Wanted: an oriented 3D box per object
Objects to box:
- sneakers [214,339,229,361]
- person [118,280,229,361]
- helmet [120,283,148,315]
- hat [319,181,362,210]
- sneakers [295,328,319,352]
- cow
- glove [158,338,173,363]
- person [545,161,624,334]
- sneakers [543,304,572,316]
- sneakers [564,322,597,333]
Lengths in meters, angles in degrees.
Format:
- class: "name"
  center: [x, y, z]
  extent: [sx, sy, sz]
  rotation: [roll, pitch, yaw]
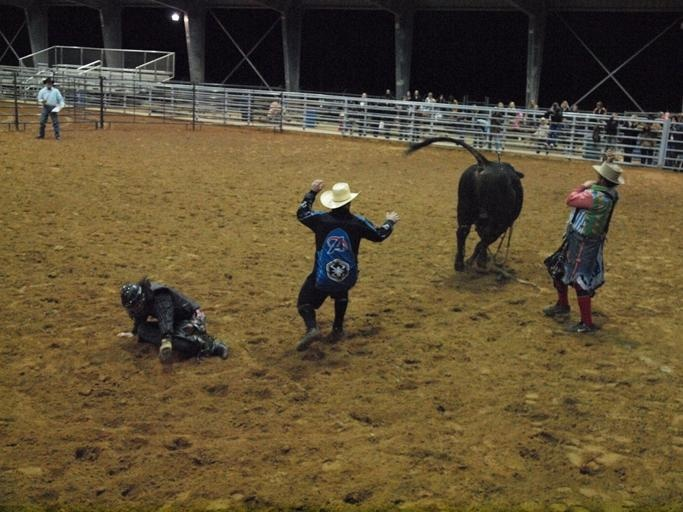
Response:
- class: "sneakers"
  center: [-1.402, 1.082, 7.380]
  extent: [0.127, 0.048, 0.186]
  rotation: [-14, 57, -11]
- class: "person"
  center: [-2.033, 0.756, 7.526]
  extent: [1.365, 0.697, 1.446]
  rotation: [9, -2, 31]
- class: "helmet"
  center: [-2.281, 0.446, 7.042]
  extent: [0.328, 0.339, 0.345]
  rotation: [-4, -16, -2]
- class: "hat"
  center: [-0.047, -0.693, 7.367]
  extent: [0.357, 0.315, 0.459]
  rotation: [2, 13, -2]
- class: "sneakers"
  center: [-0.375, 0.934, 7.285]
  extent: [0.161, 0.344, 0.157]
  rotation: [47, 14, 2]
- class: "cow"
  center: [2.009, -0.705, 9.286]
  extent: [1.004, 1.981, 0.821]
  rotation: [9, 15, 24]
- class: "glove"
  center: [-1.933, 1.062, 7.056]
  extent: [0.196, 0.275, 0.111]
  rotation: [4, 33, 1]
- class: "person"
  center: [3.033, -0.152, 8.017]
  extent: [0.714, 2.083, 0.781]
  rotation: [8, 15, 20]
- class: "sneakers"
  center: [2.846, 0.704, 8.393]
  extent: [0.375, 0.140, 0.146]
  rotation: [1, 11, 1]
- class: "sneakers"
  center: [3.001, 0.890, 7.990]
  extent: [0.385, 0.135, 0.136]
  rotation: [3, 8, 7]
